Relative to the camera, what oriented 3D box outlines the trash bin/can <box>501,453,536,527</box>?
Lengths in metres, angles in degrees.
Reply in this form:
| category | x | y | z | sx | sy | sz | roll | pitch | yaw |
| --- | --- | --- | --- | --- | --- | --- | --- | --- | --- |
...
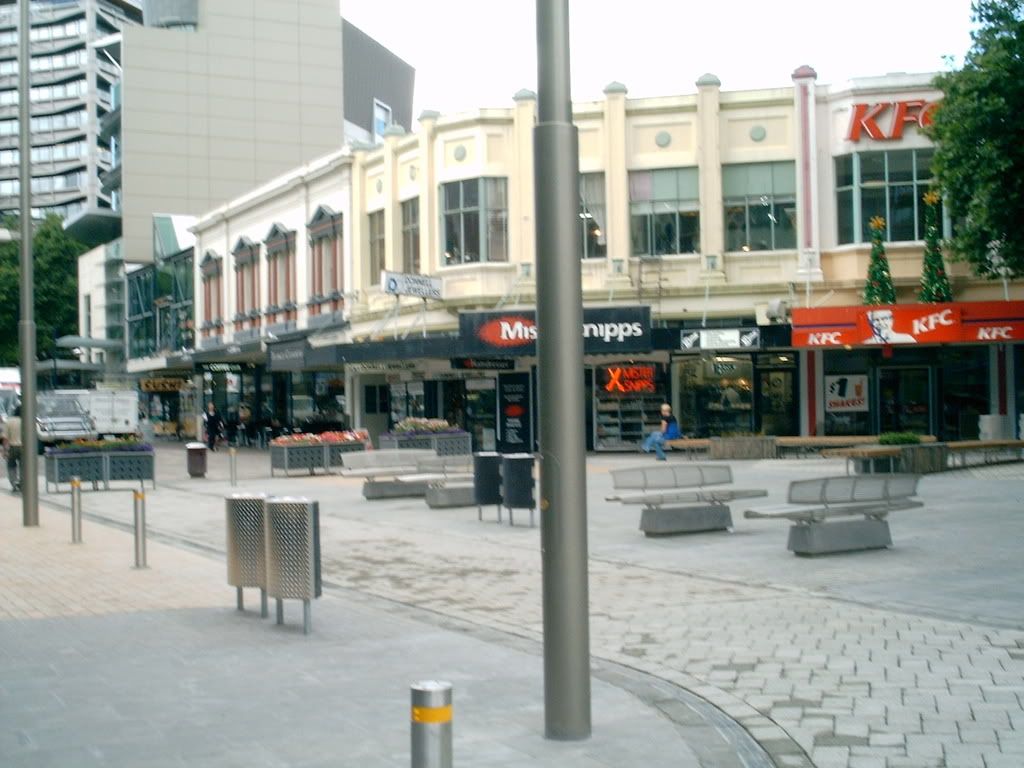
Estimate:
| category | x | y | z | sx | sy | sz | roll | pitch | yaw |
| --- | --- | --- | --- | --- | --- | --- | --- | --- | --- |
| trash bin/can | 0.105 | 1.759 | 24.123 | 0.556 | 1.176 | 1.271 | -2 | -2 | -1 |

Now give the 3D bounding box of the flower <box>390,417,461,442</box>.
| category | x | y | z | sx | sy | sz | roll | pitch | yaw |
| --- | --- | --- | --- | --- | --- | --- | --- | --- | --- |
| flower | -2.240 | 1.164 | 38.554 | 1.535 | 0.575 | 2.592 | -2 | -3 | 0 |

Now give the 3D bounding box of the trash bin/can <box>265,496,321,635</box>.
| category | x | y | z | sx | sy | sz | roll | pitch | yaw |
| --- | --- | --- | --- | --- | --- | --- | --- | --- | --- |
| trash bin/can | -2.574 | 2.147 | 17.289 | 0.765 | 1.600 | 0.451 | -3 | -2 | 35 |

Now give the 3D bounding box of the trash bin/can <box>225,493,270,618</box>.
| category | x | y | z | sx | sy | sz | roll | pitch | yaw |
| --- | --- | --- | --- | --- | --- | --- | --- | --- | --- |
| trash bin/can | -3.125 | 2.076 | 17.846 | 0.447 | 1.536 | 0.567 | -2 | 5 | -42 |
